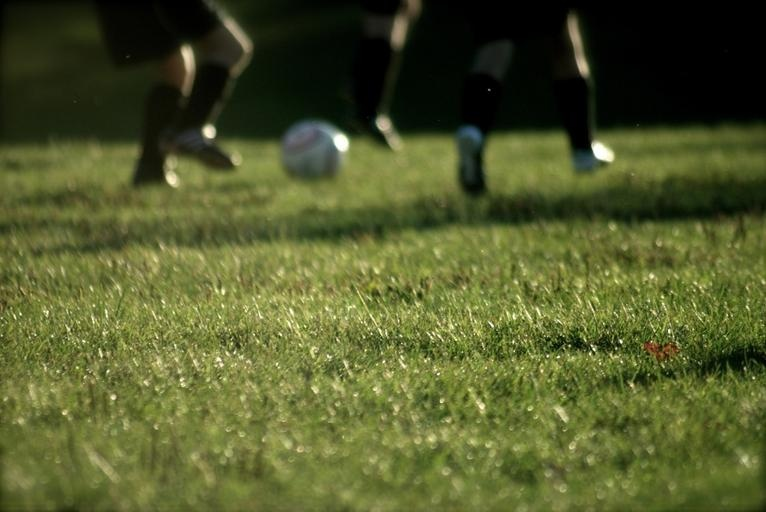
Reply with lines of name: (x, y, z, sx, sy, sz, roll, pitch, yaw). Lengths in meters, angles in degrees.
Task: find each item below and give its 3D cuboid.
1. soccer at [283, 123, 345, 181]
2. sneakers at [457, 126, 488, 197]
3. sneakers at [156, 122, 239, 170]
soccer: (-0.404, -0.665, 5.686, 0.410, 0.271, 0.412, -4, 35, 3)
sneakers: (0.498, -0.518, 5.064, 0.122, 0.404, 0.163, -2, -9, 11)
sneakers: (-1.022, -0.632, 5.276, 0.495, 0.256, 0.175, 16, 19, -26)
